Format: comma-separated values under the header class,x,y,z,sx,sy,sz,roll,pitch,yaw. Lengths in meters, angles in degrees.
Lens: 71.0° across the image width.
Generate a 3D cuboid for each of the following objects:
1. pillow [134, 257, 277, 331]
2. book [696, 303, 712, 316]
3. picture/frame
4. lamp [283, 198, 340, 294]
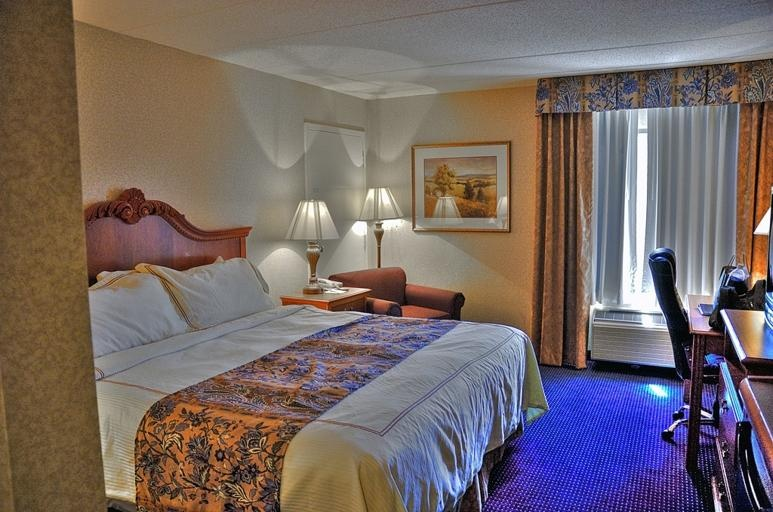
class,x,y,z,sx,sy,sz,roll,pitch,yaw
pillow,-1.377,0.273,4.182,0.475,0.412,1.137,9,7,25
book,2.426,0.413,4.140,0.100,0.036,0.174,-2,7,16
picture/frame,0.882,-0.806,6.118,1.065,0.901,0.075,1,8,23
lamp,-0.721,-0.071,5.329,0.508,0.858,0.486,-1,1,-23
